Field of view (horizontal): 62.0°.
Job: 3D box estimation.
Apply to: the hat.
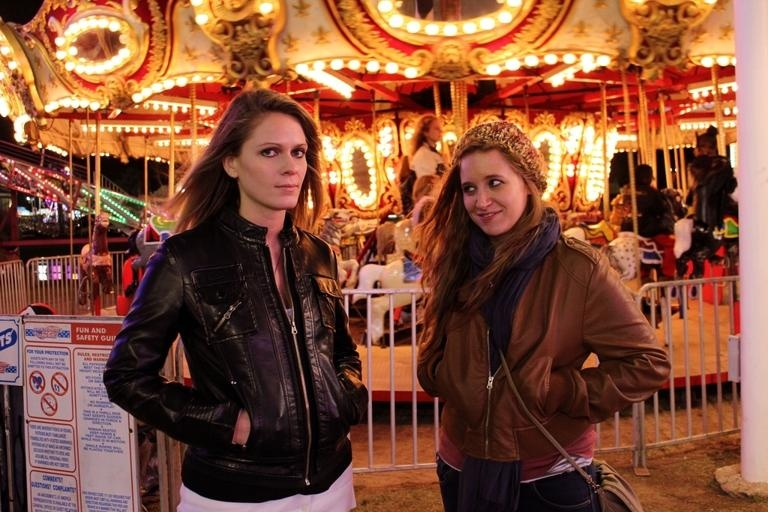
[{"bbox_3d":[0.680,-0.596,3.811,0.560,0.228,0.490,7,-24,21],"label":"hat"}]
